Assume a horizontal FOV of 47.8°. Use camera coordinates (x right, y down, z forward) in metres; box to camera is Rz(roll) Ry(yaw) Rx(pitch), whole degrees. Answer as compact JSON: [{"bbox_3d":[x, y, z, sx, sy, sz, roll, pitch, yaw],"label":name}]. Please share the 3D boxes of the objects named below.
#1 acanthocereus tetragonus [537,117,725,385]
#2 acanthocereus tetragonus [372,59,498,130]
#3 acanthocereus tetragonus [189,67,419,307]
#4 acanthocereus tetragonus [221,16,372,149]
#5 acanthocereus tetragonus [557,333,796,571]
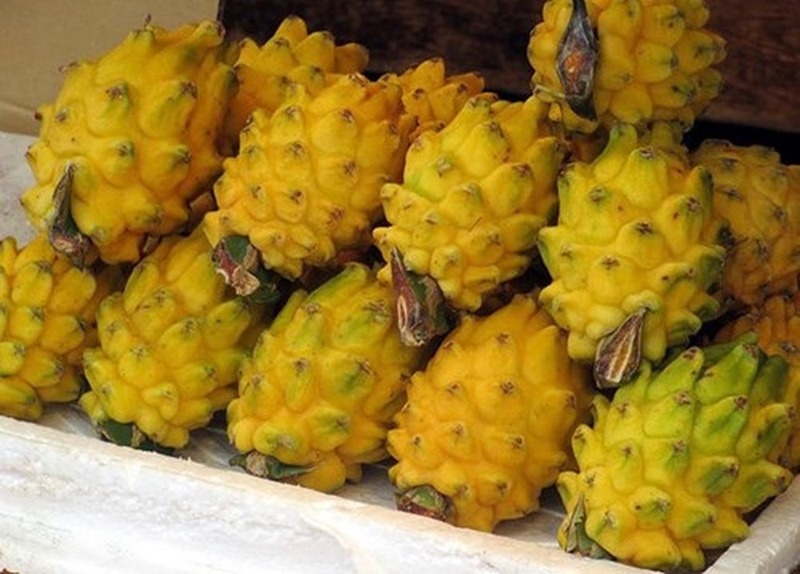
[{"bbox_3d":[0.464,-0.125,1.861,0.234,0.329,0.503,23,4,-27],"label":"acanthocereus tetragonus"},{"bbox_3d":[0.043,-0.490,2.266,0.315,0.107,0.181,-11,54,-33],"label":"acanthocereus tetragonus"},{"bbox_3d":[-0.299,-0.327,2.070,0.320,0.323,0.448,-34,64,-29],"label":"acanthocereus tetragonus"},{"bbox_3d":[-0.326,-0.504,2.266,0.504,0.179,0.290,-15,28,11],"label":"acanthocereus tetragonus"},{"bbox_3d":[0.548,0.361,1.783,0.539,0.251,0.326,-32,59,-17],"label":"acanthocereus tetragonus"}]
